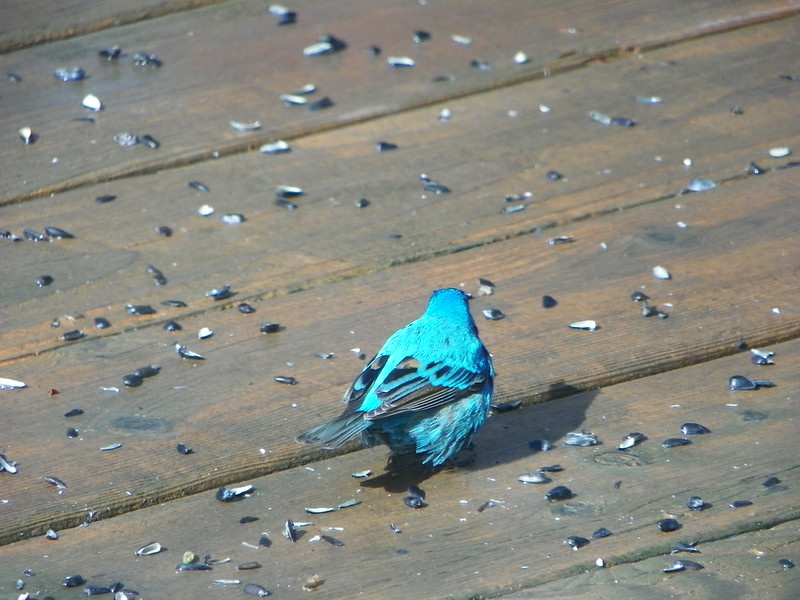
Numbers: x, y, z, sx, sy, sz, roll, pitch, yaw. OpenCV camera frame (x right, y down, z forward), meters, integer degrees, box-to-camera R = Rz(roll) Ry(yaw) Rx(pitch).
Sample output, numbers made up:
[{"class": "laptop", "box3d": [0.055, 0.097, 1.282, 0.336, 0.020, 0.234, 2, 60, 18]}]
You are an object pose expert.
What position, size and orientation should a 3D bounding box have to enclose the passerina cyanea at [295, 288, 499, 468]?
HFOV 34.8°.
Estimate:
[{"class": "passerina cyanea", "box3d": [0.074, 0.365, 6.000, 0.644, 0.814, 0.910, -1, 3, 25]}]
